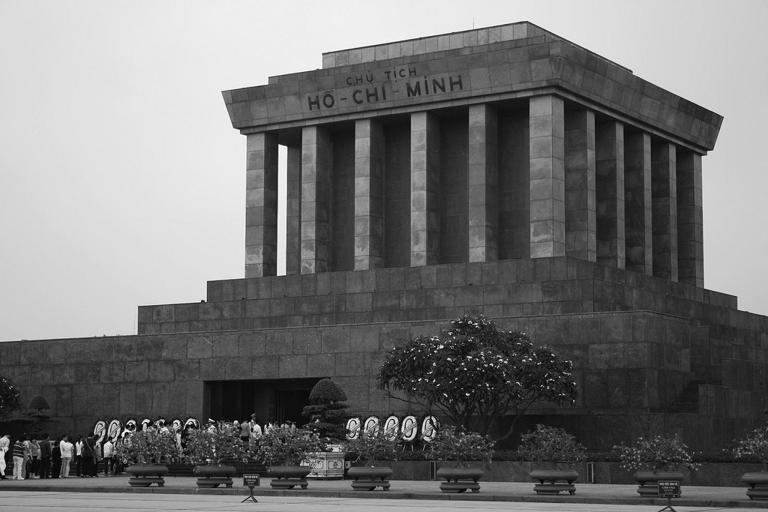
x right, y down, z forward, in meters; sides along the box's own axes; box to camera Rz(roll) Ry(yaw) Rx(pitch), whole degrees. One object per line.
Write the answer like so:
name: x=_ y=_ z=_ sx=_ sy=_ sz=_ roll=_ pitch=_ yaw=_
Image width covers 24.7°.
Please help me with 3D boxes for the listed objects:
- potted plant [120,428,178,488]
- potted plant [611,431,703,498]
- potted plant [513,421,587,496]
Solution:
potted plant: x=-8.866 y=8.141 z=69.396 sx=2.455 sy=2.203 sz=2.070 roll=3 pitch=-19 yaw=-12
potted plant: x=10.327 y=7.825 z=65.180 sx=3.096 sy=2.227 sz=2.497 roll=-4 pitch=2 yaw=-18
potted plant: x=6.376 y=8.020 z=67.254 sx=1.958 sy=2.612 sz=1.999 roll=4 pitch=9 yaw=45
